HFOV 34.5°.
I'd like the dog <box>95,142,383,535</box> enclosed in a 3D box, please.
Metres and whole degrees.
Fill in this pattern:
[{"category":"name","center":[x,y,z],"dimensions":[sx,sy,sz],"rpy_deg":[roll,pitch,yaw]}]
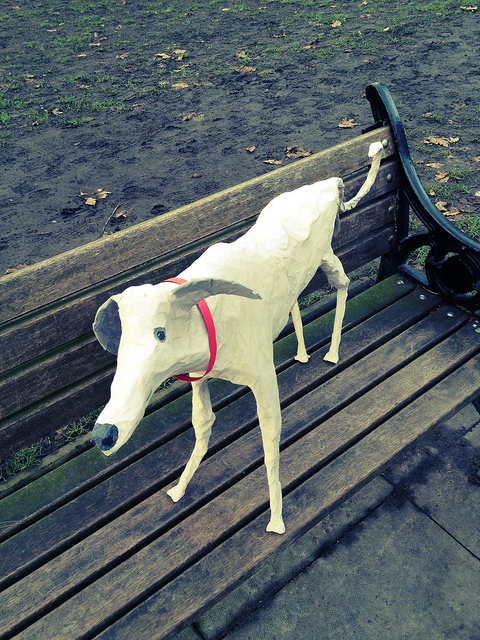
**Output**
[{"category":"dog","center":[0.093,0.023,3.182],"dimensions":[0.668,1.174,1.964],"rpy_deg":[10,30,34]}]
